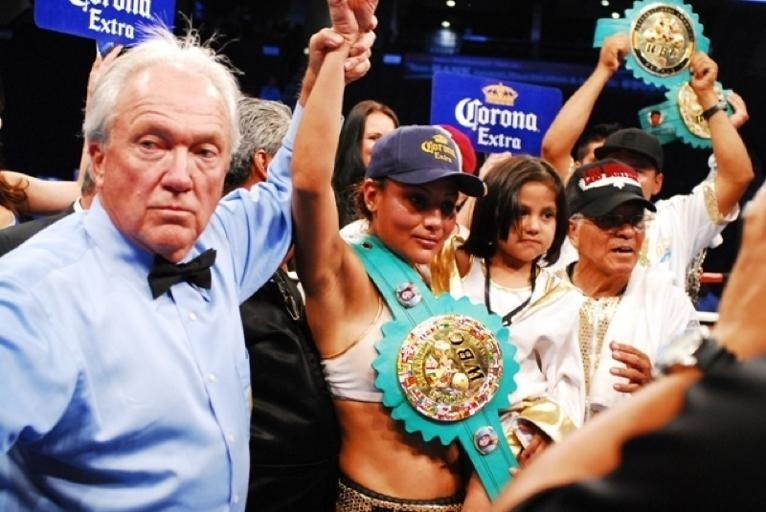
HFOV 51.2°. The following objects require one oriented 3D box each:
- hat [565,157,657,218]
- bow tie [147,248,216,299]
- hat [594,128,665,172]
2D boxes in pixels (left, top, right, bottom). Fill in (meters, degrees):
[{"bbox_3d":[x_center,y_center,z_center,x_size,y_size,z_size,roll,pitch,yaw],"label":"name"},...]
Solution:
[{"bbox_3d":[1.260,-0.379,4.536,0.335,0.240,0.475,-3,-5,-10],"label":"hat"},{"bbox_3d":[-0.781,0.071,3.053,0.195,0.123,0.039,-5,5,-41],"label":"bow tie"},{"bbox_3d":[1.699,-0.709,5.519,0.463,0.282,0.407,-1,2,11],"label":"hat"}]
